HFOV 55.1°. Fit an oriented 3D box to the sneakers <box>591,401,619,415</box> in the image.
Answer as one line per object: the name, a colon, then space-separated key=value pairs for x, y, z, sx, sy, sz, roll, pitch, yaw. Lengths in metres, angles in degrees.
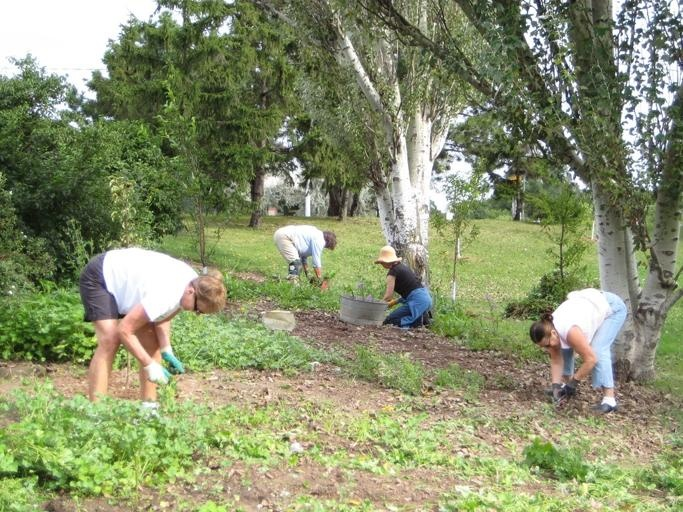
sneakers: x=3.126 y=1.795 z=7.747 sx=0.243 sy=0.108 sz=0.136 roll=6 pitch=-3 yaw=-5

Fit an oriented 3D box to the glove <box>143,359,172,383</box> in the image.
glove: x=-1.675 y=1.053 z=5.934 sx=0.242 sy=0.213 sz=0.295 roll=3 pitch=0 yaw=-19

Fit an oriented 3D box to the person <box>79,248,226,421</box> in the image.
person: x=-1.781 y=0.785 z=6.095 sx=1.277 sy=1.618 sz=0.893 roll=9 pitch=9 yaw=8

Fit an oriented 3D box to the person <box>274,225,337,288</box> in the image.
person: x=-0.790 y=-0.021 z=13.631 sx=1.226 sy=1.336 sz=0.927 roll=2 pitch=11 yaw=-9

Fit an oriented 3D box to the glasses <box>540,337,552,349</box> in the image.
glasses: x=2.399 y=0.974 z=7.615 sx=0.128 sy=0.106 sz=0.174 roll=-4 pitch=19 yaw=5

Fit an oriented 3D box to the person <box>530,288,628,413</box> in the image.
person: x=2.808 y=1.100 z=7.772 sx=0.741 sy=1.478 sz=1.192 roll=3 pitch=0 yaw=42

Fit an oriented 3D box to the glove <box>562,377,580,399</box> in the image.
glove: x=2.730 y=1.588 z=7.815 sx=0.090 sy=0.260 sz=0.203 roll=36 pitch=41 yaw=-6

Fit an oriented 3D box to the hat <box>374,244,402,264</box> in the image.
hat: x=0.798 y=-0.028 z=10.830 sx=0.282 sy=0.206 sz=0.343 roll=4 pitch=7 yaw=32

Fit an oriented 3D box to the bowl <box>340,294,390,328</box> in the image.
bowl: x=0.355 y=0.890 z=10.407 sx=0.533 sy=0.272 sz=0.523 roll=5 pitch=3 yaw=0
